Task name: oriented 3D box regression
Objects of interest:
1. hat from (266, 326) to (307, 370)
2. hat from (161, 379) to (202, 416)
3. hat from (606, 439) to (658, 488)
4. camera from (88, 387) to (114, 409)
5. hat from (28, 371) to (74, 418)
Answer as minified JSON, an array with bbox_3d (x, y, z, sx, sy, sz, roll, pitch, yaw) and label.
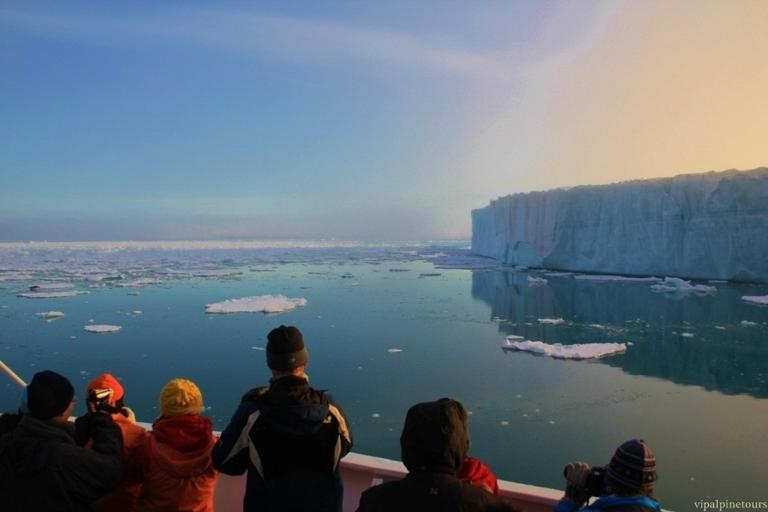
[{"bbox_3d":[-0.932,0.872,5.728,0.415,0.357,0.430,-2,-2,-26],"label":"hat"},{"bbox_3d":[-1.974,1.377,5.924,0.328,0.356,0.413,0,-1,-4],"label":"hat"},{"bbox_3d":[2.324,1.921,5.664,0.367,0.308,0.502,6,-4,16],"label":"hat"},{"bbox_3d":[-2.691,1.357,5.773,0.165,0.193,0.218,4,8,26],"label":"camera"},{"bbox_3d":[-3.073,1.296,5.540,0.377,0.428,0.468,8,24,-18],"label":"hat"}]
